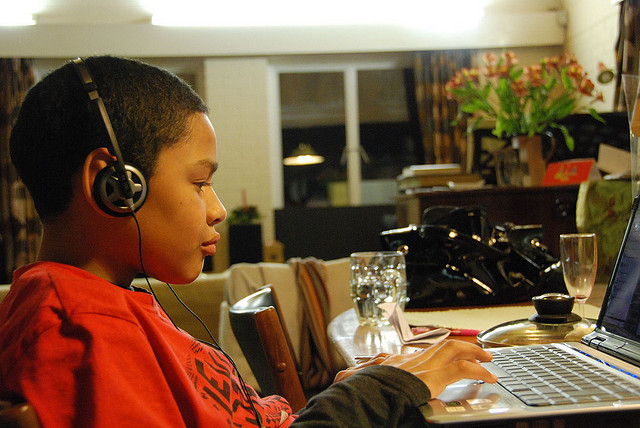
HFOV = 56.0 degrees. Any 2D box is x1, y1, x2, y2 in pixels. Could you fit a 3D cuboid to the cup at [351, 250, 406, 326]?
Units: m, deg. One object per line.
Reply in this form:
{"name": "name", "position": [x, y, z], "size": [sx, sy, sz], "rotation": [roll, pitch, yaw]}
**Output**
{"name": "cup", "position": [0.151, 0.196, 1.568], "size": [0.165, 0.185, 0.153], "rotation": [-1, -3, 0]}

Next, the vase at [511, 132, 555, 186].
{"name": "vase", "position": [1.042, -0.268, 2.916], "size": [0.120, 0.304, 0.188], "rotation": [3, 6, 8]}

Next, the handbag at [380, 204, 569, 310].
{"name": "handbag", "position": [0.387, 0.099, 1.853], "size": [0.485, 0.283, 0.537], "rotation": [2, 2, -6]}

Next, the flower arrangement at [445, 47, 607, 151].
{"name": "flower arrangement", "position": [1.056, -0.565, 3.082], "size": [0.721, 0.517, 0.907], "rotation": [-2, 5, 25]}
